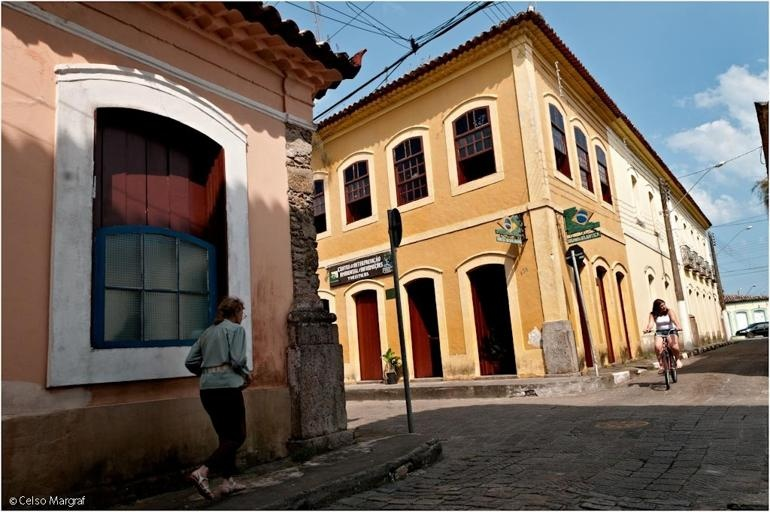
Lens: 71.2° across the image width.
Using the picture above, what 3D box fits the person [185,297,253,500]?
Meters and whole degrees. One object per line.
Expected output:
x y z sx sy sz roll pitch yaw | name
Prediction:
-1.919 1.600 6.237 0.676 2.255 0.414 -2 -13 -12 | person

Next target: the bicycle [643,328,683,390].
6.185 2.231 11.696 0.436 1.241 1.236 -11 -14 25 | bicycle

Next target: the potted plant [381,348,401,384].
0.180 3.454 16.934 0.684 1.088 0.624 -9 -13 20 | potted plant

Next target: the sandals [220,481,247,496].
-1.754 2.680 6.255 0.359 0.155 0.127 7 -8 -38 | sandals
